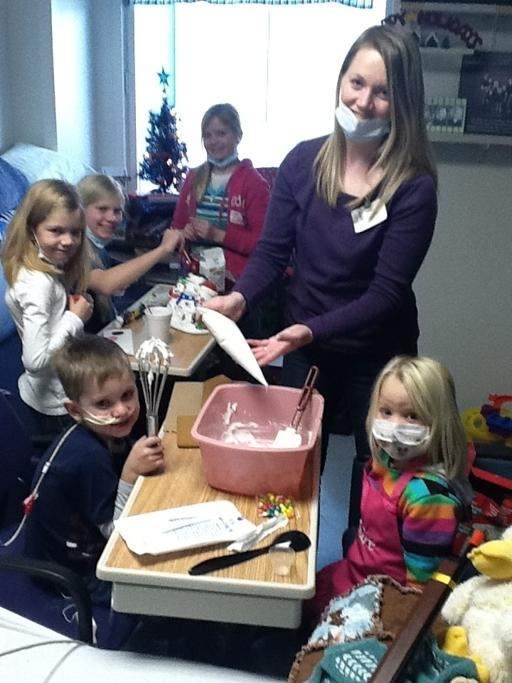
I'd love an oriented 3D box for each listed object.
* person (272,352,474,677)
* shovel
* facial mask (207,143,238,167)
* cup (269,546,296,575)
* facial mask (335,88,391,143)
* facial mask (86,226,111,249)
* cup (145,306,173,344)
[{"bbox_3d":[0.292,0.397,1.226,0.302,0.788,0.383,4,29,6],"label":"person"},{"bbox_3d":[0.080,0.155,1.130,0.054,0.210,0.015,17,5,-24],"label":"shovel"},{"bbox_3d":[-0.103,-0.595,1.816,0.065,0.035,0.077,-2,-23,-7],"label":"facial mask"},{"bbox_3d":[0.042,0.328,0.837,0.032,0.037,0.031,-1,7,0],"label":"cup"},{"bbox_3d":[0.255,-0.529,1.339,0.130,0.097,0.062,1,17,10],"label":"facial mask"},{"bbox_3d":[-0.560,-0.367,1.963,0.072,0.051,0.070,2,26,-5],"label":"facial mask"},{"bbox_3d":[-0.311,-0.055,1.787,0.110,0.120,0.111,1,9,0],"label":"cup"}]
